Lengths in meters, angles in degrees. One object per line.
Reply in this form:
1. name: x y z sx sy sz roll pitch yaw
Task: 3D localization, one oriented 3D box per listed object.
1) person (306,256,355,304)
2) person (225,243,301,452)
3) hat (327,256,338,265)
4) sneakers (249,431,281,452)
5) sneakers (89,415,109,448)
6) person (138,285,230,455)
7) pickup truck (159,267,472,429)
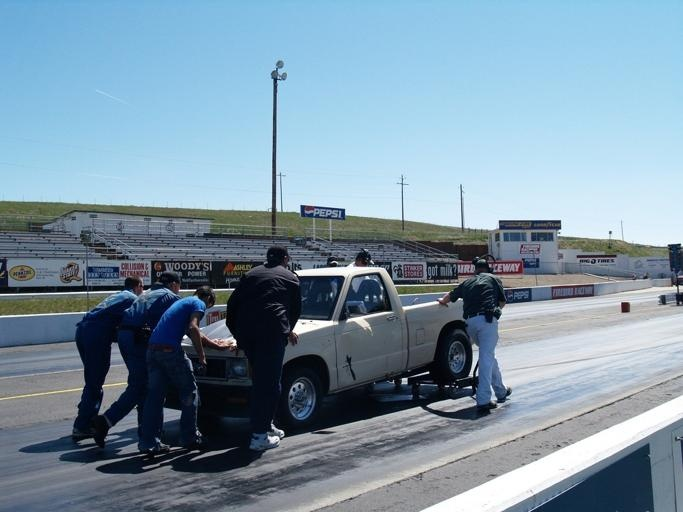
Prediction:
1. person: -0.235 0.424 13.482 0.630 0.796 0.236 0 -3 -19
2. person: -1.017 1.194 9.399 0.960 2.626 0.534 0 0 -11
3. hat: -0.182 0.107 14.608 0.147 0.148 0.266 1 -1 -4
4. sneakers: -0.982 2.370 9.238 0.182 0.170 0.404 2 2 43
5. sneakers: -3.174 2.267 9.422 0.153 0.510 0.209 0 2 9
6. person: -2.142 1.477 9.455 0.985 2.138 0.560 0 0 -14
7. pickup truck: -0.025 1.374 10.962 2.169 1.806 4.003 -9 -6 40
